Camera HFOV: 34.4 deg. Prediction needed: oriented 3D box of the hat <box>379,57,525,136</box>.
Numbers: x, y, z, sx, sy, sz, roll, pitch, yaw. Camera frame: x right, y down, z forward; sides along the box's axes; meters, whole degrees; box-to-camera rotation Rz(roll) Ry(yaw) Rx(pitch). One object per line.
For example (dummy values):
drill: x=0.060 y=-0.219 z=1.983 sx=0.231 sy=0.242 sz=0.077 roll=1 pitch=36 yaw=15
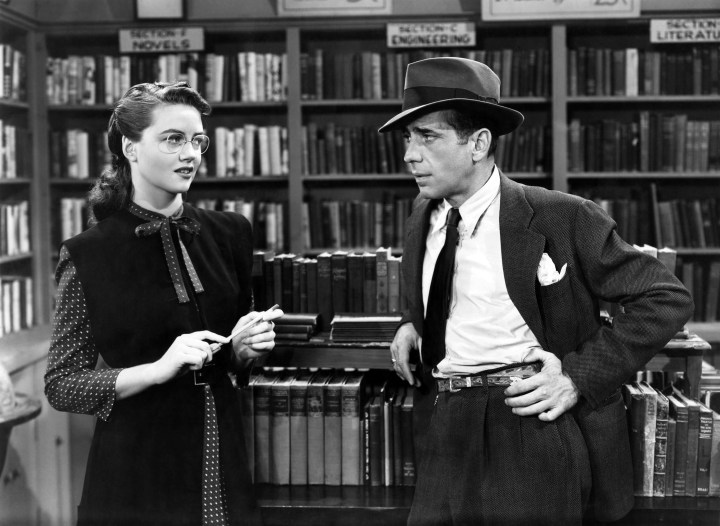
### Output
hat: x=0.379 y=-0.623 z=4.326 sx=0.384 sy=0.192 sz=0.329 roll=-1 pitch=-2 yaw=-15

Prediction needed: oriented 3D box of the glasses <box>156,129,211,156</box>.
glasses: x=-0.636 y=-0.441 z=4.225 sx=0.199 sy=0.082 sz=0.049 roll=-1 pitch=-1 yaw=-33
